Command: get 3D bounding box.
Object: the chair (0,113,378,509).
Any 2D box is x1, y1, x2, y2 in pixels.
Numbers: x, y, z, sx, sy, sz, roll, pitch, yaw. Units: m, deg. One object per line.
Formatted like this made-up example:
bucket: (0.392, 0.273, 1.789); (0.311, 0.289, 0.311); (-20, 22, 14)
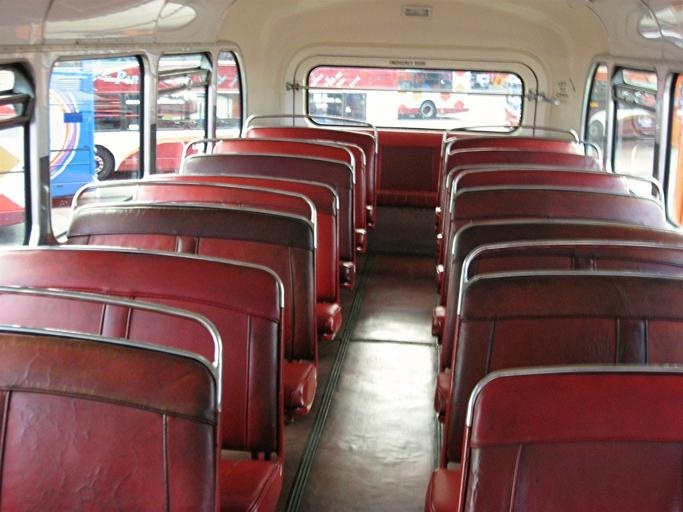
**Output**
chair: (-0.694, 0.345, 2.414); (1.025, 1.253, 0.852); (3, 0, 4)
